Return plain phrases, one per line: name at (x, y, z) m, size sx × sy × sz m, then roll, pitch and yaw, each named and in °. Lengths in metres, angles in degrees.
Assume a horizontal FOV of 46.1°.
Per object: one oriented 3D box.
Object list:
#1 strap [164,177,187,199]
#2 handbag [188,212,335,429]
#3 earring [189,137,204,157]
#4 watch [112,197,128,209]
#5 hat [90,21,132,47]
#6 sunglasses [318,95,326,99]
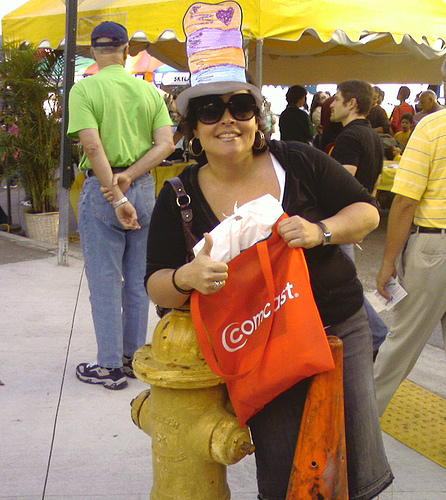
strap at (-0.157, -0.213, 1.805) m, size 0.063 × 0.082 × 0.092 m, roll -27°, pitch 16°, yaw -17°
handbag at (0.118, 0.235, 1.645) m, size 0.449 × 0.499 × 0.268 m, roll -29°, pitch -22°, yaw 32°
earring at (-0.096, -0.375, 1.902) m, size 0.074 × 0.077 × 0.021 m, roll -1°, pitch 17°, yaw -9°
watch at (-0.617, -0.288, 3.173) m, size 0.077 × 0.026 × 0.073 m, roll -29°, pitch 23°, yaw -7°
hat at (-0.693, -1.360, 3.311) m, size 0.156 × 0.108 × 0.210 m, roll 7°, pitch 39°, yaw 5°
sunglasses at (1.923, -2.964, 10.235) m, size 0.114 × 0.029 × 0.131 m, roll -4°, pitch 3°, yaw -6°
